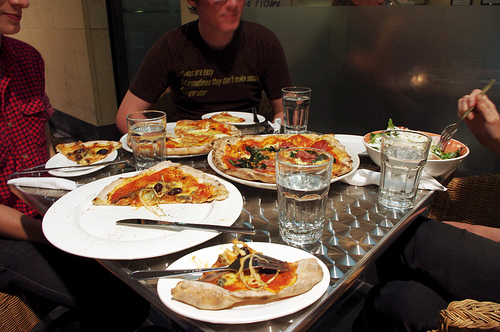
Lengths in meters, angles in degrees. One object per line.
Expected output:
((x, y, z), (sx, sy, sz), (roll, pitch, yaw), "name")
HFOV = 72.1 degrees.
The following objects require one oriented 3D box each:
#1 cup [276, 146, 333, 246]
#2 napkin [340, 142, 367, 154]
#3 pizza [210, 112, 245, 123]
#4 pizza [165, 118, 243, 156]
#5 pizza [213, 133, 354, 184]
((0.211, 0.121, 1.453), (0.232, 0.328, 0.275), (7, 30, 12), "cup")
((0.655, -0.118, 2.103), (0.089, 0.014, 0.084), (-3, 31, -4), "napkin")
((-0.173, -0.352, 2.519), (0.155, 0.030, 0.113), (13, 21, 30), "pizza")
((-0.308, -0.133, 2.100), (0.425, 0.062, 0.409), (-10, 25, -1), "pizza")
((0.139, -0.069, 1.942), (0.447, 0.083, 0.419), (-5, 22, -14), "pizza")
